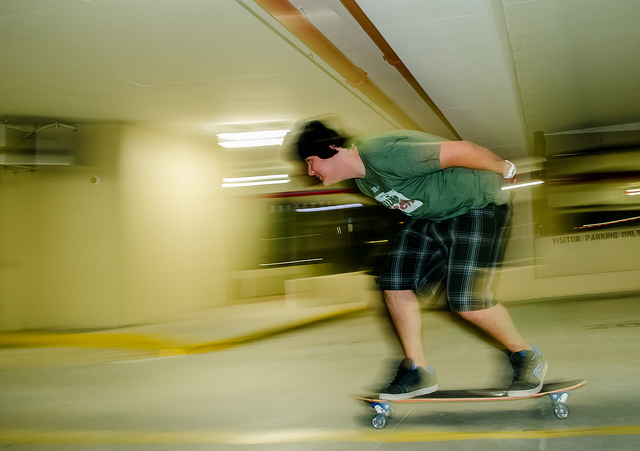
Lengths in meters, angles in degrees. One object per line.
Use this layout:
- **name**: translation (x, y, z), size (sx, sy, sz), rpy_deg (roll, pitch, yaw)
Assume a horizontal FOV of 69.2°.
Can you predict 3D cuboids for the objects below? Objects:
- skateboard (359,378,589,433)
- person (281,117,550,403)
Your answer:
- **skateboard**: translation (0.663, 0.739, 1.885), size (1.139, 0.098, 0.270), rpy_deg (-3, 1, 6)
- **person**: translation (0.432, 0.112, 1.933), size (0.871, 1.182, 0.209), rpy_deg (-11, -2, 7)
